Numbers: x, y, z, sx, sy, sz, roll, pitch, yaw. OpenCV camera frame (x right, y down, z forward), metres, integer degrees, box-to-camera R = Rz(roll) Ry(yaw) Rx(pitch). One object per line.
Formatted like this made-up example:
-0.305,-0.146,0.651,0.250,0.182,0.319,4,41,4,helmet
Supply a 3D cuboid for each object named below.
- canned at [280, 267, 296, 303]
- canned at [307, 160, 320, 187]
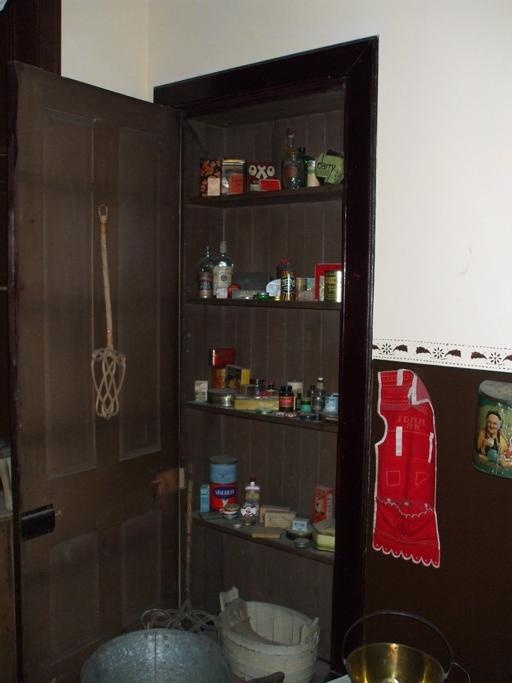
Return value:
0.117,-0.209,2.256,0.058,0.115,0.163,1,6,2,canned
0.199,-0.589,2.159,0.037,0.096,0.076,0,6,-5,canned
